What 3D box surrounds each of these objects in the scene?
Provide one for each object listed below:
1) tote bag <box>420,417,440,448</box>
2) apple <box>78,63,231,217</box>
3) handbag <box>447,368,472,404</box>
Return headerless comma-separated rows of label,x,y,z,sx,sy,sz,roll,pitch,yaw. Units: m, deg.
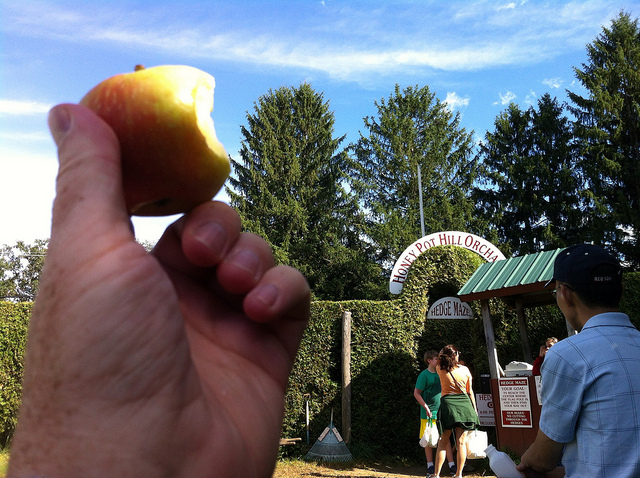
tote bag,1.912,3.205,7.772,0.154,0.408,0.196,-7,-9,-19
apple,-0.352,-0.220,1.000,0.268,0.298,0.225,-4,-9,30
handbag,2.221,2.327,7.353,0.092,0.644,0.066,-36,-3,-24
